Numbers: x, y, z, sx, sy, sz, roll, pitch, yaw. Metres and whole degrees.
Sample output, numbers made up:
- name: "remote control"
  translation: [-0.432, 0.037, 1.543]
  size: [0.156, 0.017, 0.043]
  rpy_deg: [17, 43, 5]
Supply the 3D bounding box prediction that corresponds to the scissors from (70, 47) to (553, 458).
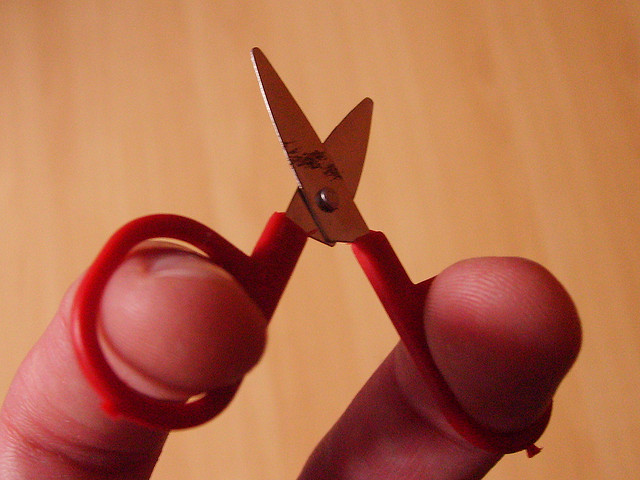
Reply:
- name: "scissors"
  translation: [0.013, 0.001, 0.620]
  size: [0.397, 0.409, 0.031]
  rpy_deg: [9, -43, -13]
